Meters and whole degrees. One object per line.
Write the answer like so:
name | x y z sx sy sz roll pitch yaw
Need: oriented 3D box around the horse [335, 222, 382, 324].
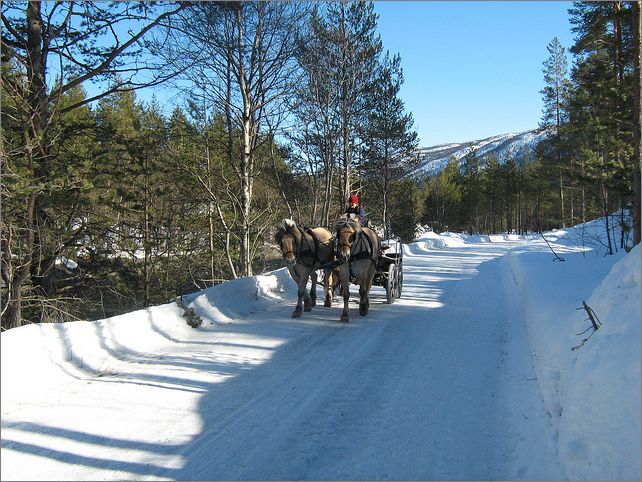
horse | 0.893 0.699 14.803 0.959 2.465 1.717 -3 1 32

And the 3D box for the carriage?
carriage | 0.147 0.642 15.176 1.550 2.949 5.081 -7 -16 25

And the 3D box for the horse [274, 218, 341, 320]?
horse | -0.384 0.703 15.692 0.899 2.738 3.743 -1 1 17
